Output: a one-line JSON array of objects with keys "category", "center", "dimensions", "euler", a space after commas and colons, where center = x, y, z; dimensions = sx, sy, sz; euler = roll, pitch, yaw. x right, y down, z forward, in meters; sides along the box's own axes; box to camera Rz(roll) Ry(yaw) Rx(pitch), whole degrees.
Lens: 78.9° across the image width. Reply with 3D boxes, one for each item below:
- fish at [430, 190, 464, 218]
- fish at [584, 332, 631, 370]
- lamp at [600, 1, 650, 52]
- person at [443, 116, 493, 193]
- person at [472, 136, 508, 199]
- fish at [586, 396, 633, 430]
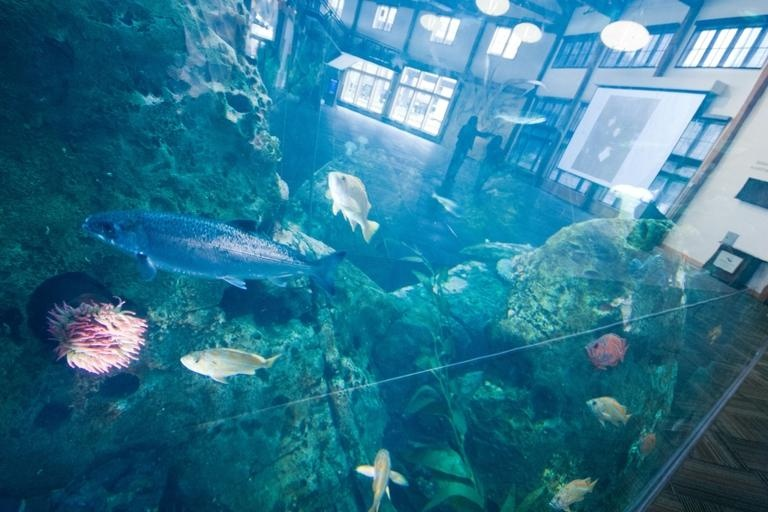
[{"category": "fish", "center": [0.847, -0.654, 6.118], "dimensions": [0.558, 0.224, 0.164], "euler": [19, 24, -30]}, {"category": "fish", "center": [2.590, 1.097, 5.331], "dimensions": [0.385, 0.417, 0.127], "euler": [-1, -6, 17]}, {"category": "lamp", "center": [2.521, -2.408, 4.831], "dimensions": [0.334, 0.322, 0.336], "euler": [24, 65, 7]}, {"category": "person", "center": [0.973, -1.206, 5.709], "dimensions": [0.373, 1.040, 0.275], "euler": [13, 22, -12]}, {"category": "person", "center": [1.314, -1.090, 5.792], "dimensions": [0.174, 0.745, 0.197], "euler": [22, 22, 6]}, {"category": "fish", "center": [2.521, 1.732, 5.146], "dimensions": [0.360, 0.271, 0.135], "euler": [34, 44, 20]}]
